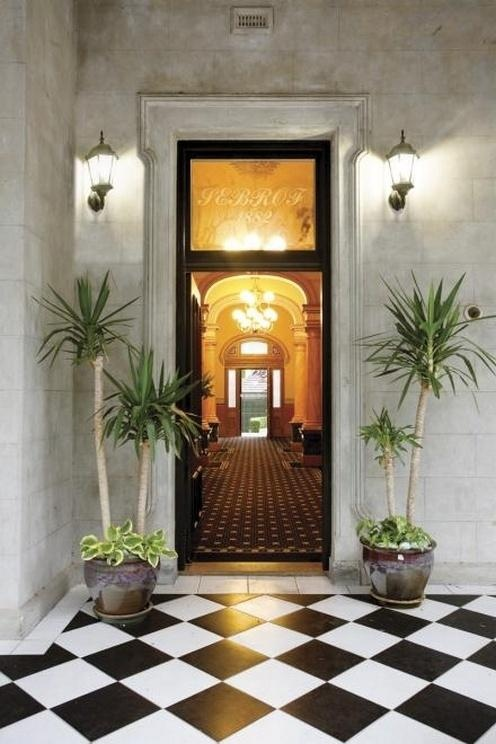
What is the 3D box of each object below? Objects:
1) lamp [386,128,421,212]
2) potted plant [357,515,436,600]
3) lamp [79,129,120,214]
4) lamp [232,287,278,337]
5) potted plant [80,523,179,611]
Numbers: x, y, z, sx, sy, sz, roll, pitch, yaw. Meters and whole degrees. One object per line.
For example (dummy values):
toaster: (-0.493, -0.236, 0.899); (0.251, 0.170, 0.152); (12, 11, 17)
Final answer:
lamp: (1.008, -1.362, 4.173); (0.213, 0.517, 0.203); (-17, 16, -39)
potted plant: (0.909, 1.109, 3.918); (0.444, 0.549, 0.463); (-4, -3, 32)
lamp: (-0.980, -1.326, 4.167); (0.215, 0.549, 0.219); (-2, 0, 9)
lamp: (0.171, -1.410, 13.346); (0.934, 1.427, 1.015); (0, -6, 1)
potted plant: (-0.643, 1.063, 3.617); (0.439, 0.465, 0.512); (-4, -11, 26)
